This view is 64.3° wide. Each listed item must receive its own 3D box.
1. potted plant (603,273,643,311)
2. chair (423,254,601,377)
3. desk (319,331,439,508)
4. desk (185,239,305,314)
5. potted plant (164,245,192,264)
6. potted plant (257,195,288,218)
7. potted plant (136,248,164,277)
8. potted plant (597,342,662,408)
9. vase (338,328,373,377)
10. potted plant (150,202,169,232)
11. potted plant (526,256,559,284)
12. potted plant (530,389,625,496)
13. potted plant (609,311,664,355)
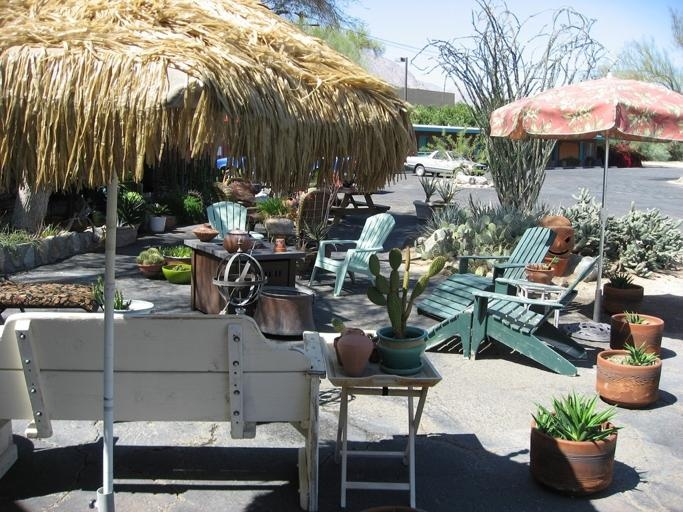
[{"bbox_3d":[3.575,0.441,6.826,0.433,0.442,0.449,-2,4,-19],"label":"potted plant"},{"bbox_3d":[1.726,0.534,5.744,1.628,0.989,1.641,3,9,27],"label":"chair"},{"bbox_3d":[0.216,0.958,3.577,0.861,1.087,1.337,1,0,1],"label":"desk"},{"bbox_3d":[-1.307,0.316,7.040,1.346,0.987,1.717,4,-1,-18],"label":"desk"},{"bbox_3d":[-2.692,-0.036,8.831,0.479,0.211,0.468,4,10,8],"label":"potted plant"},{"bbox_3d":[-1.483,-1.032,11.597,0.929,0.501,0.878,-1,12,-2],"label":"potted plant"},{"bbox_3d":[-3.025,0.078,8.620,0.430,0.417,0.416,-3,15,-20],"label":"potted plant"},{"bbox_3d":[2.385,1.000,4.481,0.512,0.488,0.499,-1,3,-11],"label":"potted plant"},{"bbox_3d":[0.035,0.549,3.126,0.222,0.245,0.234,6,5,43],"label":"vase"},{"bbox_3d":[-4.505,-0.919,13.171,0.717,0.685,0.630,0,1,-25],"label":"potted plant"},{"bbox_3d":[2.558,0.159,6.934,0.481,0.312,0.407,-1,3,-21],"label":"potted plant"},{"bbox_3d":[1.444,1.178,3.571,0.530,0.613,0.629,0,-1,16],"label":"potted plant"},{"bbox_3d":[2.881,0.733,5.300,0.541,0.368,0.538,1,-1,25],"label":"potted plant"}]
